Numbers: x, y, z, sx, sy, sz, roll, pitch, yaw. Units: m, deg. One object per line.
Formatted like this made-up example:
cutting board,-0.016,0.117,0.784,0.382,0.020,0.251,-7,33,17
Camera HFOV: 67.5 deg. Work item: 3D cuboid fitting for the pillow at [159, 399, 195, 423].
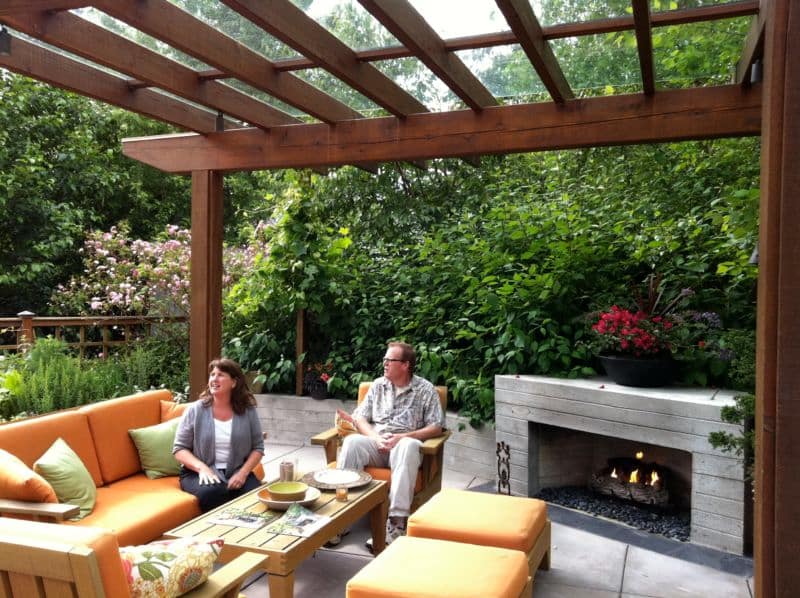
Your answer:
pillow,-1.661,0.818,4.425,0.250,0.221,0.081,1,-40,-21

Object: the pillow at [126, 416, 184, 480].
pillow,-1.668,1.014,4.132,0.368,0.323,0.127,-3,-31,-30

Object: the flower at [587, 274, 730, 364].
flower,2.086,0.153,4.805,0.874,0.516,0.776,5,-7,-29

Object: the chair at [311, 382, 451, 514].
chair,-0.129,1.147,4.577,0.919,0.879,0.850,-1,0,13

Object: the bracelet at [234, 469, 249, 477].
bracelet,-1.054,1.150,3.995,0.055,0.049,0.053,4,-3,-17

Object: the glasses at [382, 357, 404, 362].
glasses,-0.045,0.439,4.468,0.093,0.024,0.084,2,-4,-18

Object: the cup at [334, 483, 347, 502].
cup,-0.356,1.164,3.615,0.070,0.066,0.064,0,-4,0

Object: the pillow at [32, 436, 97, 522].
pillow,-1.927,1.023,3.409,0.277,0.347,0.429,-6,6,-9
